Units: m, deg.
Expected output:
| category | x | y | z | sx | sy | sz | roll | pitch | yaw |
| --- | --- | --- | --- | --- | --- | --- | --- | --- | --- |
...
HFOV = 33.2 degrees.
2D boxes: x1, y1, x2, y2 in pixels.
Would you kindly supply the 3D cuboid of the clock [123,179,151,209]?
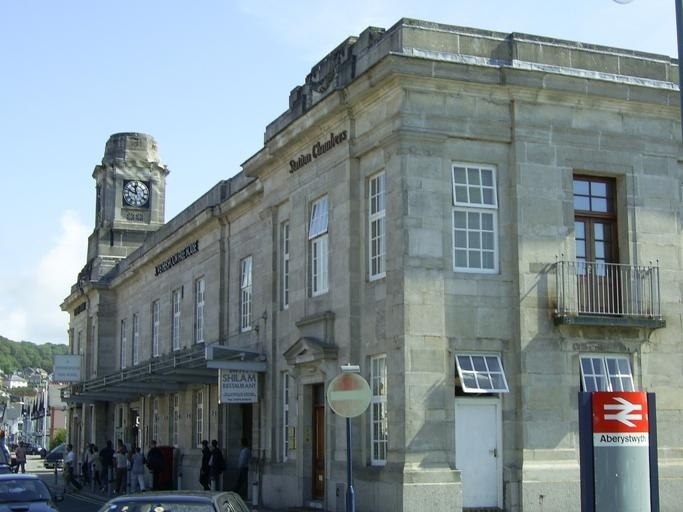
| category | x | y | z | sx | sy | sz | roll | pitch | yaw |
| --- | --- | --- | --- | --- | --- | --- | --- | --- | --- |
| clock | -12.733 | -3.887 | 70.990 | 1.913 | 1.768 | 0.112 | 6 | -31 | -33 |
